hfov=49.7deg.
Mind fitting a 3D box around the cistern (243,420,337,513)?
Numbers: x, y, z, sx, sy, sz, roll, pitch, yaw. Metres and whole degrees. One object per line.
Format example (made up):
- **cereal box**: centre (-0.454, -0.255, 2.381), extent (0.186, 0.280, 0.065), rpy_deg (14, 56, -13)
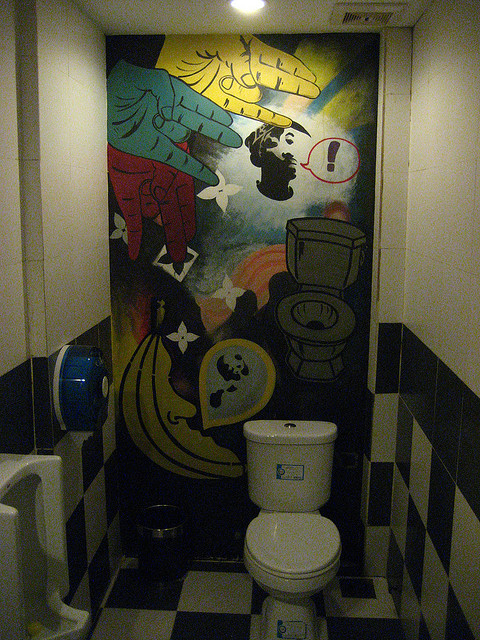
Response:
- **cistern**: centre (0.221, 0.743, 2.210), extent (0.394, 0.274, 0.401), rpy_deg (-3, 33, 4)
